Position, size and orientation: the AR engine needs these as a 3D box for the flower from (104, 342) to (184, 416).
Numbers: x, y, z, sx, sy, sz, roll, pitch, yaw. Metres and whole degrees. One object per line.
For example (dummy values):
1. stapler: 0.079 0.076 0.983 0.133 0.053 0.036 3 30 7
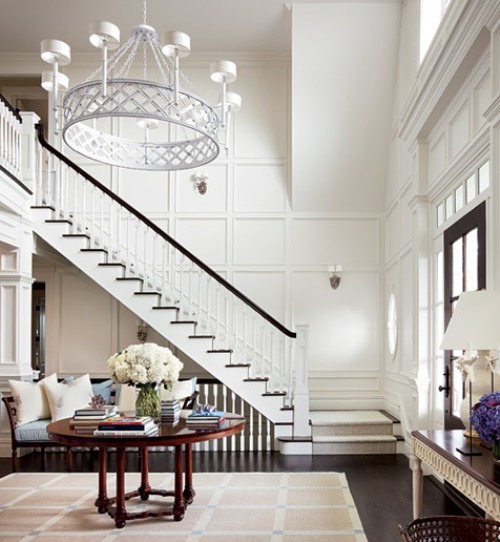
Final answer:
1. flower: -0.811 0.831 4.644 0.483 0.635 0.540 5 15 20
